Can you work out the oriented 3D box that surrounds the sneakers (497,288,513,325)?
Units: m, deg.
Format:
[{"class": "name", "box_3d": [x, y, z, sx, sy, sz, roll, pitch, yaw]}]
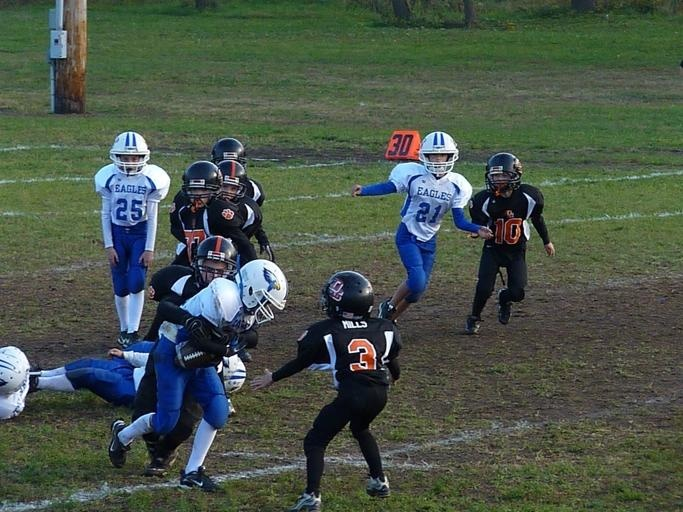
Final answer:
[{"class": "sneakers", "box_3d": [2.412, 0.740, 20.551, 0.218, 0.500, 0.247, -3, 12, -3]}]

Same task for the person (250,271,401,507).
[{"class": "person", "box_3d": [-0.009, 1.648, 17.278, 1.641, 2.788, 1.056, -3, 14, -14]}]

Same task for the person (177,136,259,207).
[{"class": "person", "box_3d": [-1.756, -1.303, 20.481, 1.378, 0.811, 0.946, 1, 8, 25]}]

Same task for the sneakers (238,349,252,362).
[{"class": "sneakers", "box_3d": [-1.358, 1.391, 19.477, 0.155, 0.204, 0.115, -42, 18, 50]}]

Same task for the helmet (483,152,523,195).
[{"class": "helmet", "box_3d": [2.394, -1.275, 20.485, 0.540, 0.456, 0.670, 1, 12, 22]}]

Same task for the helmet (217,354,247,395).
[{"class": "helmet", "box_3d": [-1.443, 1.525, 18.284, 0.465, 0.459, 0.503, 6, 26, 8]}]

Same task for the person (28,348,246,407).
[{"class": "person", "box_3d": [-2.581, 1.534, 18.604, 3.144, 0.707, 0.959, 2, 14, -3]}]

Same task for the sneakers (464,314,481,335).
[{"class": "sneakers", "box_3d": [1.928, 1.002, 20.307, 0.150, 0.155, 0.397, 8, 7, 12]}]

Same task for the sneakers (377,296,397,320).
[{"class": "sneakers", "box_3d": [0.621, 0.740, 20.303, 0.153, 0.362, 0.307, 6, -4, -42]}]

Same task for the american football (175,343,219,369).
[{"class": "american football", "box_3d": [-1.819, 1.226, 17.155, 0.545, 0.258, 0.178, 6, 41, 1]}]

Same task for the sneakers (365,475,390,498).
[{"class": "sneakers", "box_3d": [0.451, 2.861, 17.231, 0.193, 0.217, 0.353, 0, 8, -9]}]
